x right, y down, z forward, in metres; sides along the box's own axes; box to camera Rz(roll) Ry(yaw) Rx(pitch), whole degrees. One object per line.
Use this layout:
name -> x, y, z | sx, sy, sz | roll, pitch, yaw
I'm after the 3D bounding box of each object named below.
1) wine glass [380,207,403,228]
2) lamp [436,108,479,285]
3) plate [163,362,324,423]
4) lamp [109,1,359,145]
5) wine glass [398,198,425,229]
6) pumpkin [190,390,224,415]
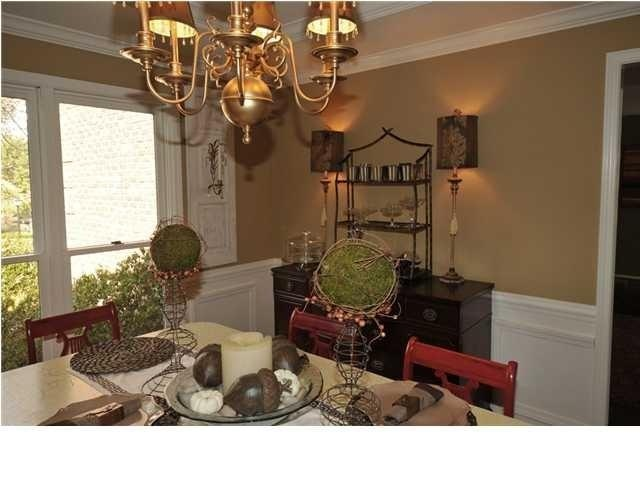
wine glass -> 0.616, -0.190, 3.928 | 0.171, 0.149, 0.188 | -3, 6, -31
lamp -> 1.043, -0.328, 3.666 | 0.326, 1.311, 0.293 | 2, 7, 24
plate -> -0.296, 0.615, 1.882 | 0.632, 0.102, 0.377 | -1, 6, -10
lamp -> -0.630, -1.110, 3.153 | 1.144, 1.091, 1.195 | -7, 12, -43
wine glass -> 0.754, -0.218, 3.847 | 0.234, 0.251, 0.238 | 3, 6, 43
pumpkin -> -0.428, 0.606, 1.762 | 0.088, 0.039, 0.088 | 6, 7, 17
